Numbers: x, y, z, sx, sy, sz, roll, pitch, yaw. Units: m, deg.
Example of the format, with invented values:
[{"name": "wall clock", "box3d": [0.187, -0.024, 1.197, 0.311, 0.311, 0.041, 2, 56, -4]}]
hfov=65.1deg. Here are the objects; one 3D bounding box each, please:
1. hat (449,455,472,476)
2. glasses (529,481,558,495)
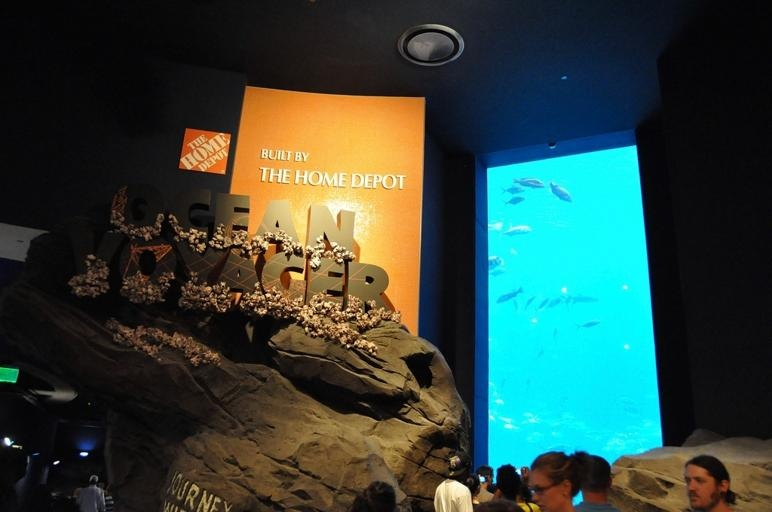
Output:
[{"name": "hat", "box3d": [1.070, 3.081, 8.831, 0.338, 0.264, 0.240, -3, 2, -34]}, {"name": "glasses", "box3d": [1.562, 2.351, 6.072, 0.178, 0.064, 0.132, 3, -11, 3]}]
